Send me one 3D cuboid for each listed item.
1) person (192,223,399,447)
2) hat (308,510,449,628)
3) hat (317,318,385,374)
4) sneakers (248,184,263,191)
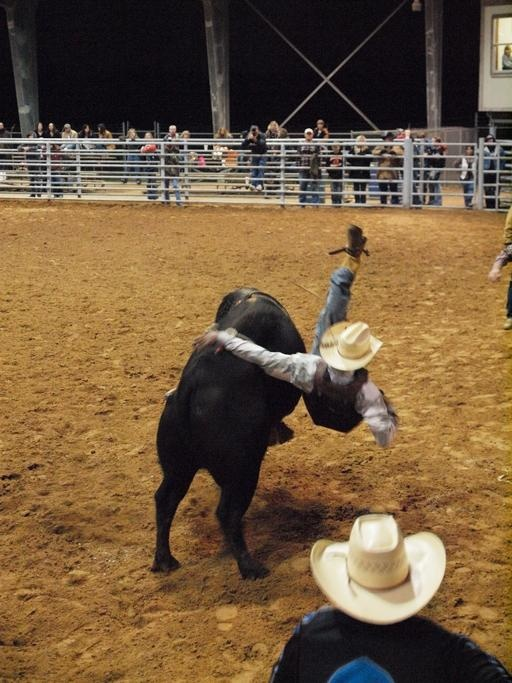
[{"bbox_3d":[0.204,-0.022,2.696,0.704,0.919,0.692,-2,13,-3],"label":"person"},{"bbox_3d":[0.276,0.469,1.423,0.302,0.118,0.343,-4,11,11],"label":"hat"},{"bbox_3d":[0.361,0.004,2.490,0.242,0.166,0.251,4,13,20],"label":"hat"},{"bbox_3d":[0.007,-4.057,16.513,0.222,0.150,0.493,-3,10,-19],"label":"sneakers"}]
